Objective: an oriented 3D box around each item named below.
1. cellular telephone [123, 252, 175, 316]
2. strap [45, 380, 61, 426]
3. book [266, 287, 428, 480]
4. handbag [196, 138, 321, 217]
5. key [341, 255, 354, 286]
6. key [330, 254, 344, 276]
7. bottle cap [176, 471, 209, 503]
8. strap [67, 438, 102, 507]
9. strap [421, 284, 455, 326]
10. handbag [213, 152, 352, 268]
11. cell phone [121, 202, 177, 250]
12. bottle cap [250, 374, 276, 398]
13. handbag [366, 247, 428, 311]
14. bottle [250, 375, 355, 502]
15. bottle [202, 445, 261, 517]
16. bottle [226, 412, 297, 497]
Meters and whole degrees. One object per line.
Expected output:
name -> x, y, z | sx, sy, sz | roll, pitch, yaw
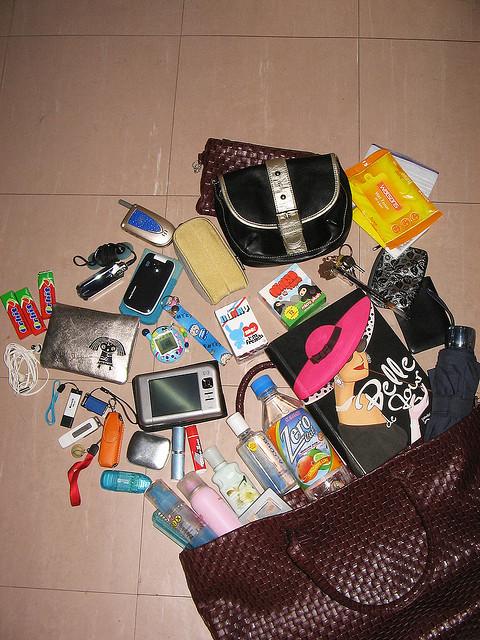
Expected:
cellular telephone -> -0.190, -0.071, 1.118 | 0.086, 0.032, 0.127 | 26, 90, 5
strap -> -0.391, 0.177, 1.124 | 0.025, 0.008, 0.085 | 2, 79, -14
book -> 0.229, 0.127, 1.068 | 0.236, 0.073, 0.330 | -31, 53, -5
handbag -> 0.039, -0.317, 1.149 | 0.228, 0.058, 0.158 | 7, 86, 7
key -> 0.223, -0.105, 1.107 | 0.023, 0.008, 0.043 | -34, 107, -43
key -> 0.204, -0.112, 1.116 | 0.008, 0.033, 0.035 | 14, 80, -9
bottle cap -> -0.092, 0.311, 1.017 | 0.050, 0.054, 0.061 | -26, 69, -18
strap -> -0.322, 0.305, 1.075 | 0.044, 0.050, 0.141 | 17, 86, 5
strap -> 0.398, -0.031, 1.099 | 0.017, 0.070, 0.072 | -30, 91, -8
handbag -> 0.088, -0.211, 1.146 | 0.242, 0.092, 0.218 | -11, 95, 1
cell phone -> -0.191, -0.193, 1.140 | 0.113, 0.028, 0.066 | 32, 80, 6
bottle cap -> 0.046, 0.128, 1.035 | 0.031, 0.032, 0.024 | -29, 74, -27
handbag -> 0.323, -0.090, 1.100 | 0.097, 0.033, 0.141 | 19, 84, 6
bottle -> 0.100, 0.228, 1.039 | 0.087, 0.088, 0.255 | -26, 83, -16
bottle -> -0.013, 0.316, 1.024 | 0.056, 0.042, 0.158 | -27, 54, -21
bottle -> 0.036, 0.263, 1.044 | 0.061, 0.062, 0.176 | -36, 79, 17
